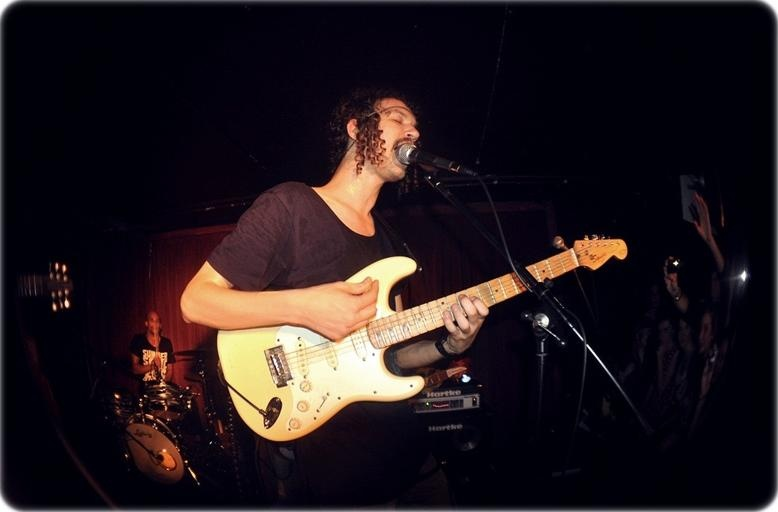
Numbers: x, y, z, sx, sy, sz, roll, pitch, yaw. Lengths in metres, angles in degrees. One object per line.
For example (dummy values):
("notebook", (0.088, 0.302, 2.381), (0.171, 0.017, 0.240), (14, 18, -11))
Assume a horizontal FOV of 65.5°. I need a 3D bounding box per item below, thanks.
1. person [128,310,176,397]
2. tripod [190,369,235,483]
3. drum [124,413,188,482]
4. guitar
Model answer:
("person", (-3.188, 1.245, 8.150), (0.617, 1.178, 0.270), (10, -46, -30))
("tripod", (-2.001, 1.940, 6.817), (0.522, 1.346, 0.190), (8, -40, -43))
("drum", (-2.504, 2.069, 6.646), (0.477, 0.798, 0.163), (-38, -5, 0))
("guitar", (0.210, 0.480, 4.652), (3.373, 1.122, 0.322), (-25, -39, 26))
